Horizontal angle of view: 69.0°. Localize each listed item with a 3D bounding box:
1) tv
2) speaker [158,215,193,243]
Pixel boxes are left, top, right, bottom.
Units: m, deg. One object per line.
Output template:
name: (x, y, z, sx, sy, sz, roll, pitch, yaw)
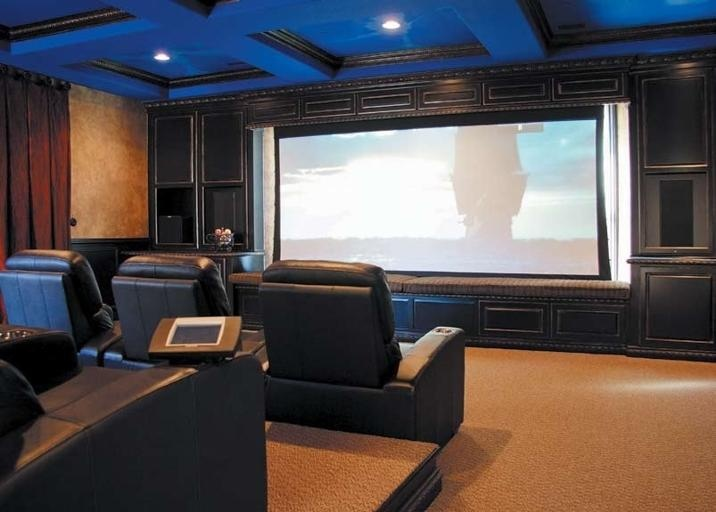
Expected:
tv: (-0.607, 0.305, 1.980, 0.313, 0.112, 0.228, -1, 6, -4)
speaker: (-2.530, -0.350, 7.258, 0.542, 0.387, 0.142, 1, 7, 11)
